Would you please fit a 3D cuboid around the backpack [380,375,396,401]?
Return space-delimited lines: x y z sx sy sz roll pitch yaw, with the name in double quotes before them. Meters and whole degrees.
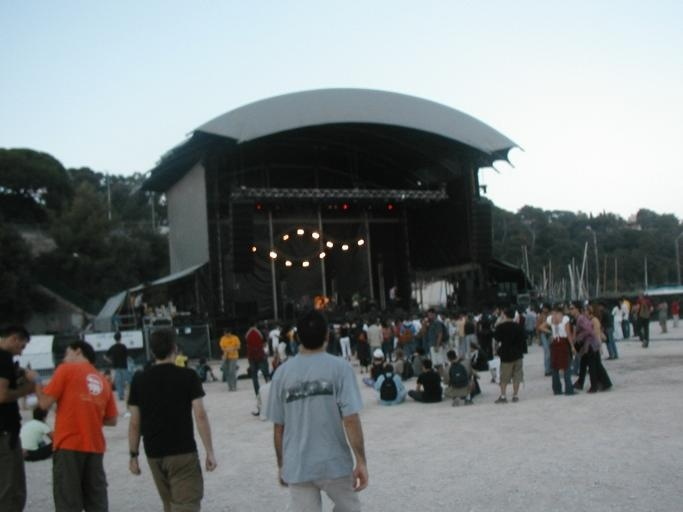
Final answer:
"backpack" 0.982 2.632 12.075 0.410 0.686 0.344 0 -14 8

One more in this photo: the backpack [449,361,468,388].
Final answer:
"backpack" 2.224 2.256 11.505 0.397 0.469 0.400 -3 0 9

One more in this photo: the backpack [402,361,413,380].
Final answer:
"backpack" 1.602 2.807 14.873 0.291 0.467 0.427 1 -23 4
